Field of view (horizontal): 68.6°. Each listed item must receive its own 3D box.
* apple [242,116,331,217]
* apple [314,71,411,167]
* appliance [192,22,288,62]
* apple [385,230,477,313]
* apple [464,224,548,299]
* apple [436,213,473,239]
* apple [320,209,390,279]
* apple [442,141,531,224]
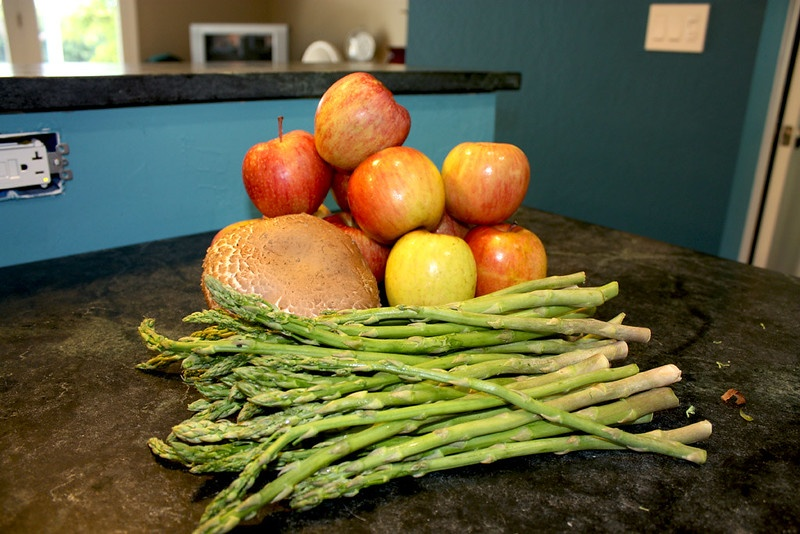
[{"bbox_3d":[-0.232,-0.207,1.213,0.148,0.198,0.135,11,24,22],"label":"apple"},{"bbox_3d":[-0.077,-0.281,1.165,0.182,0.188,0.097,4,23,7],"label":"apple"},{"bbox_3d":[-1.137,-1.644,4.321,0.721,0.255,0.309,-17,29,-38],"label":"appliance"},{"bbox_3d":[0.066,0.000,1.153,0.146,0.137,0.146,5,10,36],"label":"apple"},{"bbox_3d":[0.208,-0.014,1.208,0.151,0.135,0.146,-6,3,-23],"label":"apple"},{"bbox_3d":[0.110,-0.081,1.223,0.060,0.052,0.057,11,19,-19],"label":"apple"},{"bbox_3d":[-0.084,-0.043,1.241,0.132,0.118,0.131,23,19,2],"label":"apple"},{"bbox_3d":[0.165,-0.181,1.174,0.166,0.144,0.162,-9,16,-32],"label":"apple"}]
